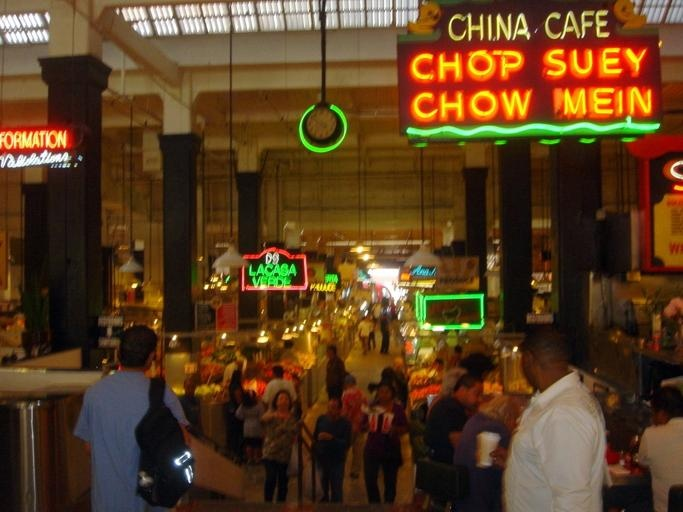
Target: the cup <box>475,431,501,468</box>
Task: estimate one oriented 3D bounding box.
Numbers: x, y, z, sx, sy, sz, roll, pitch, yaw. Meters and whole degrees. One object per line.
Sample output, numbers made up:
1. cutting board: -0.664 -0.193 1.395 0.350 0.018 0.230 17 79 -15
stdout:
1. cup: 1.187 1.572 6.241 0.228 0.334 0.241 3 -7 0
